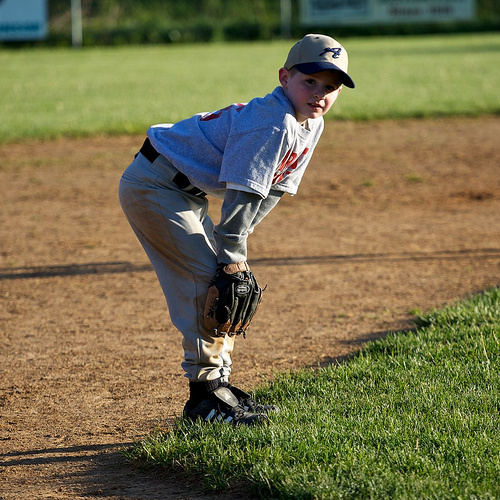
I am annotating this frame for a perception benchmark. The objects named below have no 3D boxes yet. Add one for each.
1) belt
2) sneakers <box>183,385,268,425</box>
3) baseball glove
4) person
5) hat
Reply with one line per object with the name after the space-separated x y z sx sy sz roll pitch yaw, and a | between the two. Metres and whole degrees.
-0.415 -0.413 5.009 0.131 0.372 0.269 -50 14 -5 | belt
-0.124 0.861 5.069 0.573 0.208 0.189 -1 -4 40 | sneakers
-0.092 0.269 4.973 0.311 0.420 0.150 -10 17 -43 | baseball glove
-0.111 -0.101 4.980 1.215 2.049 0.499 2 13 4 | person
0.359 -1.005 4.862 0.328 0.178 0.415 9 11 -23 | hat
